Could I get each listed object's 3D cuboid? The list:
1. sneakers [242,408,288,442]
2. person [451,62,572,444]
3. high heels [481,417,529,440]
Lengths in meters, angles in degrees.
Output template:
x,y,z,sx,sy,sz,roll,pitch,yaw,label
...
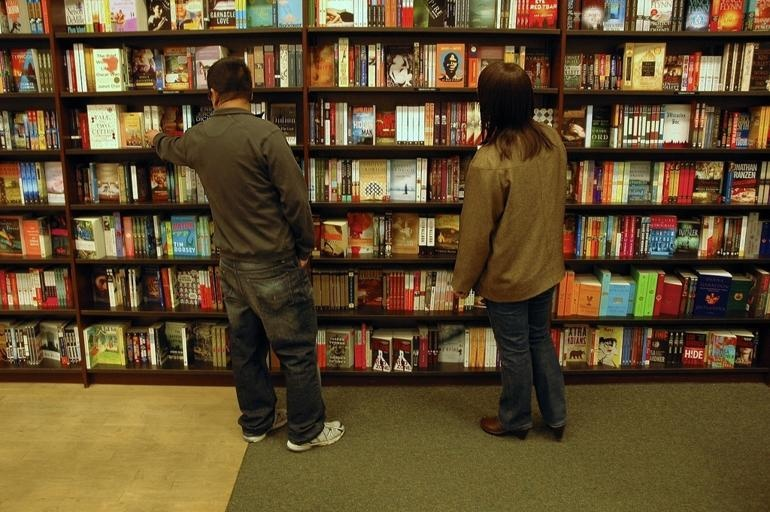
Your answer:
x,y,z,sx,sy,sz,roll,pitch,yaw,label
-0.843,1.205,4.805,0.133,0.159,0.381,12,23,27,sneakers
0.850,-0.002,4.528,0.755,2.564,0.409,-1,15,13,person
0.853,1.184,4.713,0.295,0.125,0.142,12,15,23,high heels
